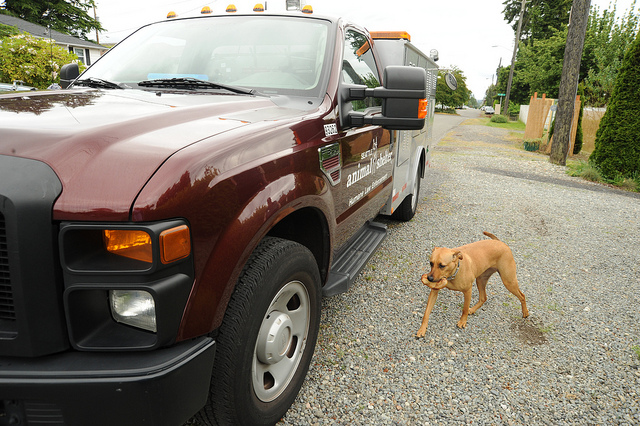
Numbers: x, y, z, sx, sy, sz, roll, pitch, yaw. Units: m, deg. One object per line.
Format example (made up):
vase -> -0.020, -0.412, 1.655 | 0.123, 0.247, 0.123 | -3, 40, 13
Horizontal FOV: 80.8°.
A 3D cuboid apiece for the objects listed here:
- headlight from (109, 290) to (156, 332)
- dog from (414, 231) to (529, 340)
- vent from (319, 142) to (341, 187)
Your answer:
headlight -> -0.860, 0.425, 1.794 | 0.238, 0.232, 0.113 | 3, 14, 8
dog -> 1.418, 0.674, 3.660 | 1.410, 0.786, 0.543 | -4, 5, -31
vent -> 0.069, -0.361, 2.778 | 0.022, 0.228, 0.325 | -1, 14, 18
